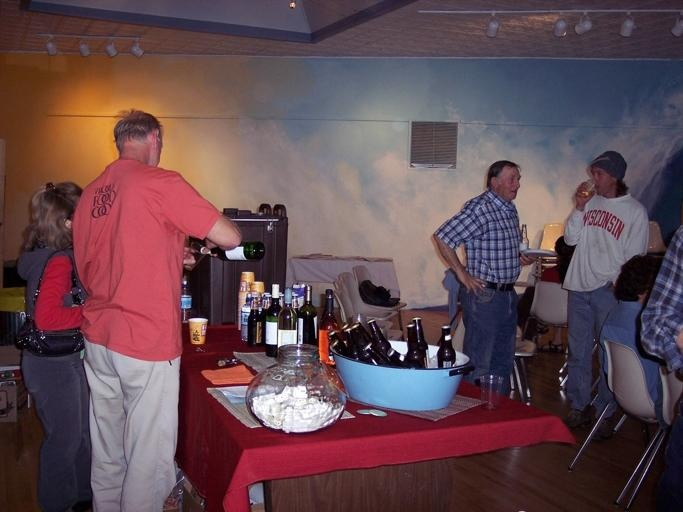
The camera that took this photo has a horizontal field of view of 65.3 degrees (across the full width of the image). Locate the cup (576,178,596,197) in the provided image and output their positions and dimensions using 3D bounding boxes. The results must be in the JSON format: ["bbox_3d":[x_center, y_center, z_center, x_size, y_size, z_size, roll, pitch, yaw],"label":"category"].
[{"bbox_3d":[1.820,-0.514,3.952,0.091,0.132,0.040,31,12,29],"label":"cup"}]

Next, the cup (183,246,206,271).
[{"bbox_3d":[-0.728,0.012,2.620,0.130,0.134,0.107,5,5,-4],"label":"cup"}]

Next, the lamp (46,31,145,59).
[{"bbox_3d":[-3.287,-2.839,7.092,1.227,0.269,0.292,-3,-15,-1],"label":"lamp"}]

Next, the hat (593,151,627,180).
[{"bbox_3d":[1.880,-0.654,3.797,0.232,0.152,0.182,16,9,21],"label":"hat"}]

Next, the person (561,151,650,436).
[{"bbox_3d":[1.844,0.229,3.835,0.469,1.930,0.520,-5,7,-38],"label":"person"}]

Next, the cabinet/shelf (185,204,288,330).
[{"bbox_3d":[-0.846,-0.036,3.858,0.543,0.984,0.552,-2,29,-42],"label":"cabinet/shelf"}]

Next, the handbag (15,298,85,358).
[{"bbox_3d":[-1.353,0.310,2.575,0.342,0.347,0.200,2,38,-17],"label":"handbag"}]

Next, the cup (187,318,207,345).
[{"bbox_3d":[-0.741,0.389,2.771,0.112,0.130,0.116,0,-3,0],"label":"cup"}]
